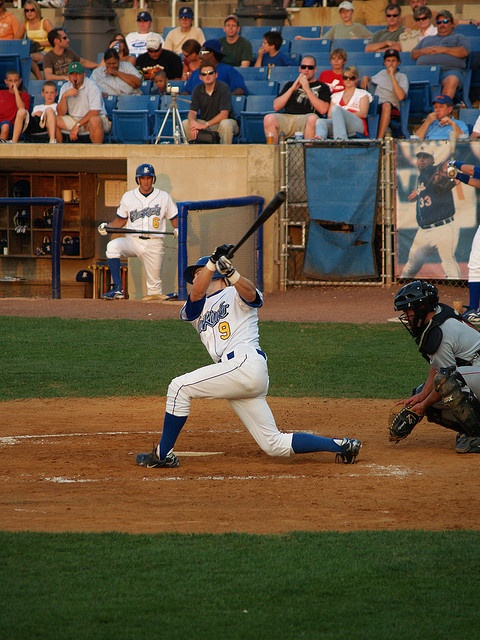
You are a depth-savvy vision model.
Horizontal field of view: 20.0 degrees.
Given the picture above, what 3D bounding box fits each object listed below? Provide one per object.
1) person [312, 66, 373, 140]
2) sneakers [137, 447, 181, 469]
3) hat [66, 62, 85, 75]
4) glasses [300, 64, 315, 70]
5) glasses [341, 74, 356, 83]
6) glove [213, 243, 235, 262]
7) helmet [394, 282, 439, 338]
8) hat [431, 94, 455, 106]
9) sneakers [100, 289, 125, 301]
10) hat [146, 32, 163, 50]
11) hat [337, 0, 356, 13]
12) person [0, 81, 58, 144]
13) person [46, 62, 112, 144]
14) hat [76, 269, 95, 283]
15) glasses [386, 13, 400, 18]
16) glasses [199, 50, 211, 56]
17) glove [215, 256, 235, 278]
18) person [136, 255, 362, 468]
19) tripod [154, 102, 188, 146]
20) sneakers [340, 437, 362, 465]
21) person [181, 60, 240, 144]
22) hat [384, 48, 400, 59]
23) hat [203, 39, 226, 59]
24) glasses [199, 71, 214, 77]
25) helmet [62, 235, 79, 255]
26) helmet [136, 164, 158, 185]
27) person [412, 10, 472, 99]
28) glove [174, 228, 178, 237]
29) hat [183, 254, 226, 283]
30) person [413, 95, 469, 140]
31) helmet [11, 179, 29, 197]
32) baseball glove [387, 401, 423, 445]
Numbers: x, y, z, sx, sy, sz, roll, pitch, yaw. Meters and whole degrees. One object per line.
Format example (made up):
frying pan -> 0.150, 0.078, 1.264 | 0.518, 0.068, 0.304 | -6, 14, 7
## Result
person -> 1.183, -2.564, 16.069 | 0.662, 0.835, 0.672 | 5, 9, 24
sneakers -> -0.514, 0.859, 8.632 | 0.287, 0.160, 0.111 | 3, 5, 8
hat -> -1.993, -3.088, 16.641 | 0.131, 0.117, 0.195 | -3, 9, 7
glasses -> 0.792, -3.010, 16.152 | 0.171, 0.052, 0.162 | 3, 8, 9
glasses -> 1.254, -2.812, 15.771 | 0.188, 0.084, 0.195 | 5, 9, 23
glove -> -0.097, -0.399, 8.254 | 0.111, 0.038, 0.083 | -42, 8, -1
helmet -> 1.115, -0.067, 8.627 | 0.270, 0.366, 0.312 | 2, 8, 8
hat -> 2.313, -2.534, 15.600 | 0.181, 0.101, 0.336 | 2, 8, 5
sneakers -> -1.499, -0.299, 16.049 | 0.263, 0.142, 0.103 | 1, 2, 1
hat -> -1.118, -3.684, 17.918 | 0.156, 0.144, 0.253 | -2, 25, 4
hat -> 1.472, -4.370, 18.954 | 0.184, 0.107, 0.303 | -10, 4, 17
person -> -2.597, -2.697, 17.534 | 0.668, 1.074, 0.849 | 2, 3, 20
person -> -1.953, -2.723, 17.106 | 0.642, 0.982, 1.009 | 0, 8, -11
hat -> -2.141, -0.612, 18.890 | 0.212, 0.178, 0.345 | 0, 8, -11
glasses -> 2.022, -4.109, 18.294 | 0.185, 0.064, 0.203 | 5, 9, 23
glasses -> -0.442, -3.310, 16.862 | 0.100, 0.087, 0.192 | -6, 11, -40
glove -> -0.084, -0.318, 8.202 | 0.048, 0.127, 0.094 | -37, -9, 15
person -> 0.028, 0.246, 8.466 | 1.293, 1.410, 0.627 | 0, -7, 4
tripod -> -0.806, -2.552, 16.791 | 0.471, 0.708, 0.549 | 1, 16, 0
sneakers -> 0.683, 0.834, 8.620 | 0.152, 0.171, 0.123 | 6, -2, -5
person -> -0.338, -2.639, 16.530 | 0.685, 0.969, 1.069 | 1, 8, -3
hat -> 1.818, -3.208, 16.381 | 0.167, 0.125, 0.316 | 2, 8, 3
hat -> -0.307, -3.403, 17.009 | 0.276, 0.162, 0.198 | 23, 12, -23
glasses -> -0.388, -2.915, 16.036 | 0.171, 0.079, 0.106 | 3, 8, 13
helmet -> -2.357, -1.059, 19.228 | 0.199, 0.281, 0.266 | -4, -6, 34
helmet -> -1.067, -1.681, 15.680 | 0.194, 0.219, 0.223 | -1, -4, -9
person -> 2.592, -3.359, 17.148 | 0.597, 1.085, 1.020 | -2, 9, -19
glove -> -0.682, -0.972, 15.055 | 0.030, 0.099, 0.065 | 1, 6, -23
hat -> -0.239, -0.351, 8.580 | 0.210, 0.160, 0.110 | -9, 46, -7
person -> 2.345, -2.358, 15.805 | 0.600, 0.503, 0.821 | 2, 8, 7
helmet -> -3.044, -1.847, 19.149 | 0.258, 0.292, 0.206 | 6, -8, -29
baseball glove -> 1.040, 0.671, 8.952 | 0.201, 0.275, 0.127 | 40, 3, -37
